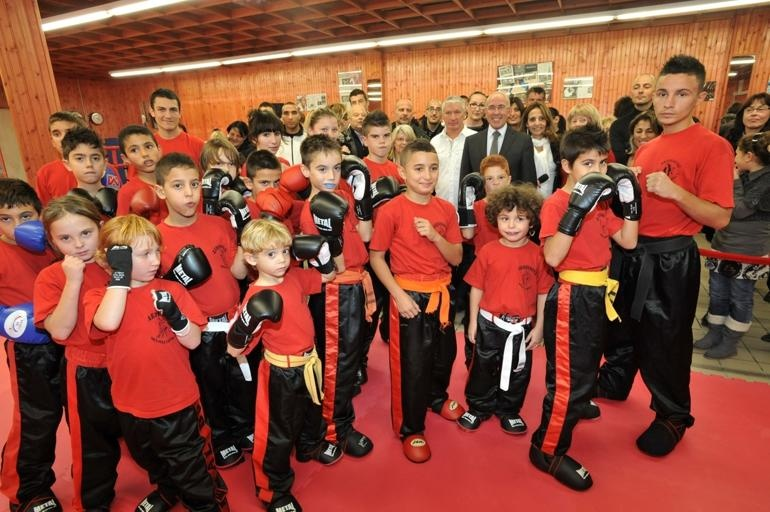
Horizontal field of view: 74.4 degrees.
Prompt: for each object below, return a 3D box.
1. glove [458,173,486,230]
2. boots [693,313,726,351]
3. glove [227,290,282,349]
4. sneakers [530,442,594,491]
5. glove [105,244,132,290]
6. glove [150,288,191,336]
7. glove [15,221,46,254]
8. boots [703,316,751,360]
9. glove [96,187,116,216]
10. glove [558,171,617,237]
[{"bbox_3d":[0.695,-0.419,4.005,0.233,0.451,0.134,-2,-2,26],"label":"glove"},{"bbox_3d":[3.228,0.742,5.031,0.358,0.353,0.199,-4,11,-2],"label":"boots"},{"bbox_3d":[-0.861,0.436,3.358,0.382,0.400,0.165,-9,16,-17],"label":"glove"},{"bbox_3d":[1.285,1.507,3.694,0.394,0.154,0.212,20,40,34],"label":"sneakers"},{"bbox_3d":[-1.689,0.069,3.213,0.167,0.250,0.085,2,1,3],"label":"glove"},{"bbox_3d":[-1.382,0.361,3.265,0.183,0.297,0.111,-47,22,-27],"label":"glove"},{"bbox_3d":[-2.434,-0.156,3.519,0.230,0.176,0.197,9,3,-26],"label":"glove"},{"bbox_3d":[3.281,0.791,4.898,0.468,0.436,0.213,-10,15,-13],"label":"boots"},{"bbox_3d":[-2.178,-0.441,3.974,0.163,0.215,0.080,12,-27,-18],"label":"glove"},{"bbox_3d":[1.359,-0.308,3.442,0.291,0.451,0.181,21,8,17],"label":"glove"}]
